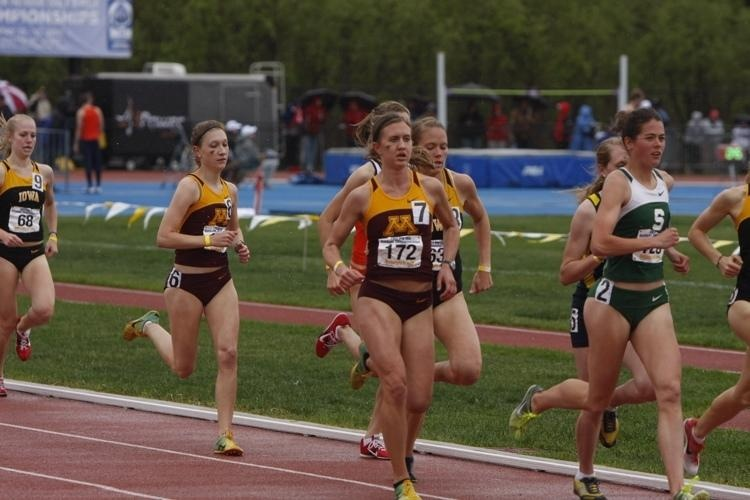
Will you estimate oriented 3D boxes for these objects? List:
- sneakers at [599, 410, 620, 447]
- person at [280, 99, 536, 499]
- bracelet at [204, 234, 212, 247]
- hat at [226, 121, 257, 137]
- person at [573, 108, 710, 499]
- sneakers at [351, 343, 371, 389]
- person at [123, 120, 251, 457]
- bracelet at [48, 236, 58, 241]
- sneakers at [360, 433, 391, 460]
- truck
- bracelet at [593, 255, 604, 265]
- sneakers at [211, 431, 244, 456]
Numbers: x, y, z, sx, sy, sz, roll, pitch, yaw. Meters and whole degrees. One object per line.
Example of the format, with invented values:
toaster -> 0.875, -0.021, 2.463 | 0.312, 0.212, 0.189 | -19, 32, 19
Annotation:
sneakers -> 2.053, 1.513, 8.363 | 0.163, 0.189, 0.461 | -1, 32, 10
person -> 0.249, 0.429, 7.630 | 1.120, 2.994, 1.379 | 1, 10, 7
bracelet -> -1.470, -0.079, 8.466 | 0.063, 0.103, 0.096 | 0, 2, -8
hat -> -3.658, -3.214, 25.519 | 0.734, 0.256, 0.455 | 6, 17, 32
person -> 2.158, 0.418, 7.289 | 0.933, 2.912, 0.848 | 6, 12, 31
sneakers -> -0.122, 1.041, 8.436 | 0.162, 0.464, 0.202 | 7, 33, 3
person -> -1.613, 0.304, 8.661 | 0.925, 2.884, 1.476 | -3, 11, -14
bracelet -> -3.707, -0.132, 10.988 | 0.102, 0.075, 0.100 | 1, 0, -7
sneakers -> -0.016, 1.720, 8.370 | 0.155, 0.188, 0.416 | 1, -4, -36
truck -> -5.423, -3.540, 27.633 | 6.121, 3.101, 2.069 | 2, 6, 6
bracelet -> 1.744, 0.071, 7.482 | 0.075, 0.030, 0.063 | 27, -3, 39
sneakers -> -1.280, 1.692, 8.340 | 0.131, 0.159, 0.327 | 3, -9, -21
